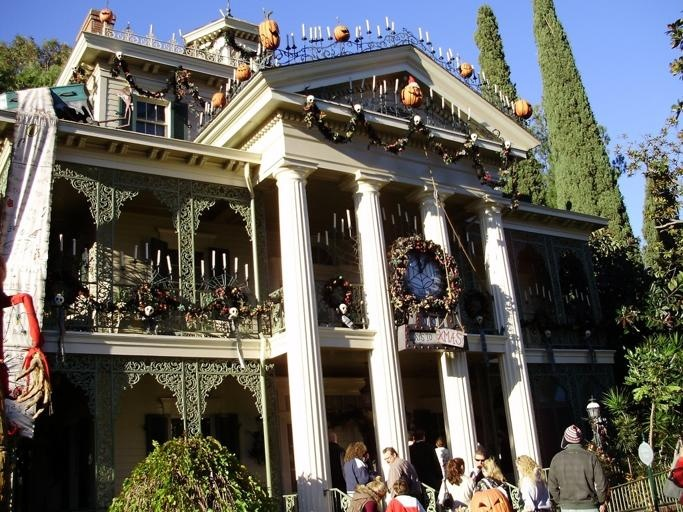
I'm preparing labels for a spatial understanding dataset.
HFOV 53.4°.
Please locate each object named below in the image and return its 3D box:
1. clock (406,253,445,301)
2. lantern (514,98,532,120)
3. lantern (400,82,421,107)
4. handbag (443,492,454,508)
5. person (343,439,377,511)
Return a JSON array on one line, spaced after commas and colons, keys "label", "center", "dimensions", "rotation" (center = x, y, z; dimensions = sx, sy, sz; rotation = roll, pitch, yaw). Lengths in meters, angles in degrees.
[{"label": "clock", "center": [2.301, 0.533, 18.827], "dimensions": [1.221, 1.281, 0.229], "rotation": [5, -15, -25]}, {"label": "lantern", "center": [5.538, -4.621, 20.883], "dimensions": [0.491, 0.558, 1.067], "rotation": [-6, -15, 13]}, {"label": "lantern", "center": [1.961, -4.555, 19.162], "dimensions": [0.534, 0.773, 0.451], "rotation": [-2, -14, 1]}, {"label": "handbag", "center": [2.058, 4.763, 13.214], "dimensions": [0.182, 0.245, 0.254], "rotation": [4, -25, -4]}, {"label": "person", "center": [0.344, 4.450, 14.095], "dimensions": [0.577, 1.097, 0.977], "rotation": [-2, -14, 2]}]
